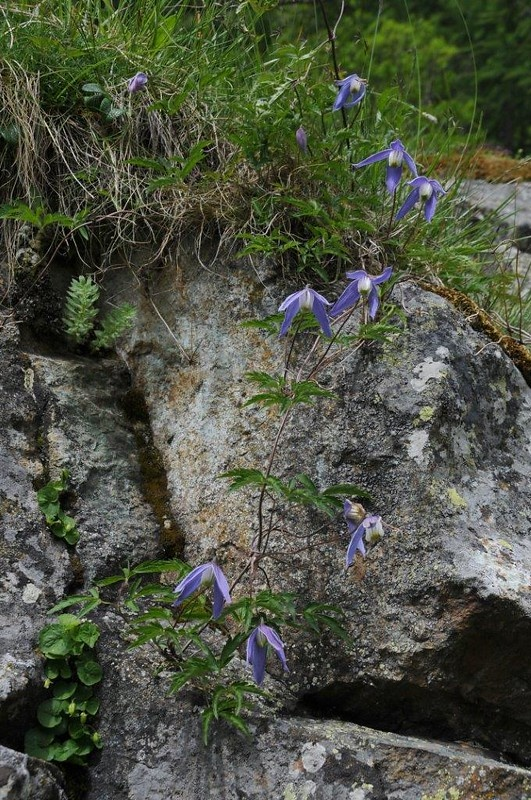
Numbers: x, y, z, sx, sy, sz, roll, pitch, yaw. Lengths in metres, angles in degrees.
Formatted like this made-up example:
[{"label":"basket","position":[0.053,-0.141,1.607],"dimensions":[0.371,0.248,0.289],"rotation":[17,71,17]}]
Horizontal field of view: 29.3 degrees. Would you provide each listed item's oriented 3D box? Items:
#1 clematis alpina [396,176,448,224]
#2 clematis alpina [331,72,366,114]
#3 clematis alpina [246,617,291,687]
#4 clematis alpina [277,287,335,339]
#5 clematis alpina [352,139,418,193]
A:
[{"label":"clematis alpina","position":[0.440,-0.569,2.931],"dimensions":[0.132,0.161,0.056],"rotation":[14,52,1]},{"label":"clematis alpina","position":[0.238,-0.902,3.018],"dimensions":[0.103,0.107,0.039],"rotation":[41,92,-4]},{"label":"clematis alpina","position":[-0.011,0.617,2.529],"dimensions":[0.108,0.100,0.111],"rotation":[-12,94,-43]},{"label":"clematis alpina","position":[0.099,-0.230,2.703],"dimensions":[0.143,0.138,0.071],"rotation":[-3,79,22]},{"label":"clematis alpina","position":[0.369,-0.675,2.942],"dimensions":[0.189,0.058,0.181],"rotation":[8,32,12]}]
